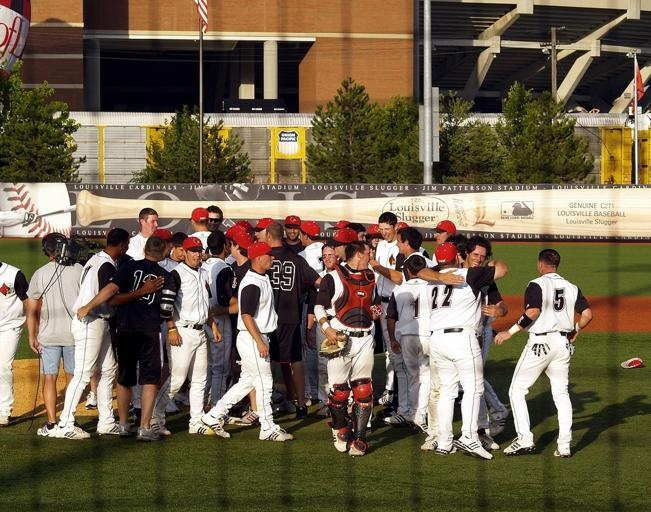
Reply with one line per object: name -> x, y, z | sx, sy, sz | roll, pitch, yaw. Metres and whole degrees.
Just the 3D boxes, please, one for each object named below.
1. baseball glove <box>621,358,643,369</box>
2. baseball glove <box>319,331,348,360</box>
baseball glove -> 8.647, 3.048, 41.083 | 0.445, 0.157, 0.308 | 0, 4, -10
baseball glove -> 0.180, 2.323, 37.254 | 0.513, 0.259, 0.722 | 9, 34, 16
